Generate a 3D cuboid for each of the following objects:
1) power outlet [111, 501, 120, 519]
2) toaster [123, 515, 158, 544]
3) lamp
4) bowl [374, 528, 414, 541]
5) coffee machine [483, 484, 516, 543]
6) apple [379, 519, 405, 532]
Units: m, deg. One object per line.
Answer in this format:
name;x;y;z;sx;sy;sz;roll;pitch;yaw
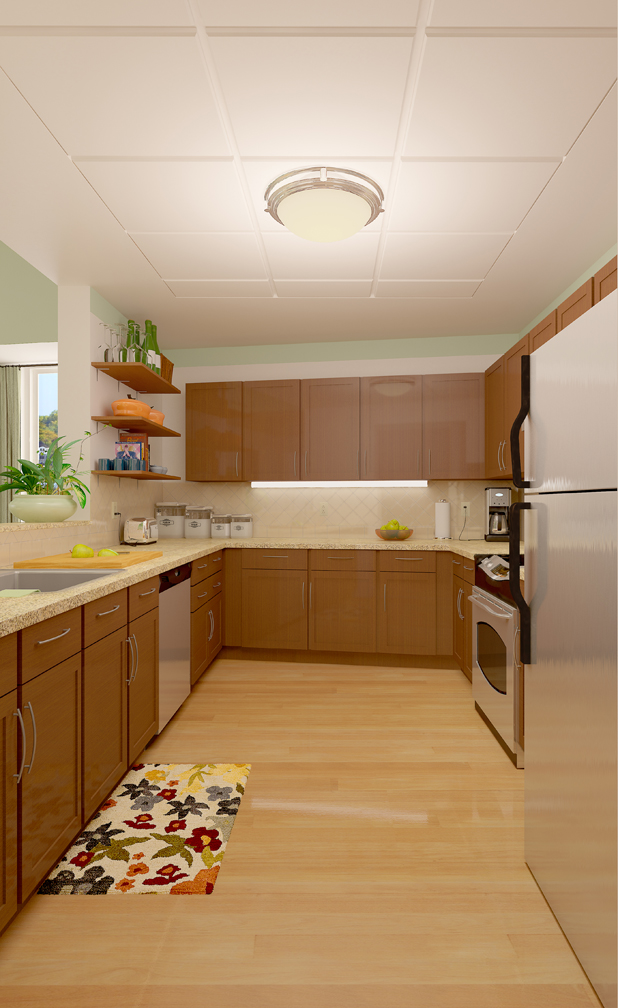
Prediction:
power outlet;-1.057;0.038;3.879;0.030;0.088;0.092;-1;-1;7
toaster;-0.915;0.153;3.863;0.115;0.166;0.211;2;0;11
lamp;0.056;-1.075;2.574;0.431;0.185;0.305;1;6;6
bowl;0.503;0.189;4.252;0.190;0.083;0.113;2;7;15
coffee machine;1.055;0.063;3.987;0.131;0.304;0.311;1;6;14
apple;0.501;0.137;4.256;0.075;0.047;0.093;1;4;-20
